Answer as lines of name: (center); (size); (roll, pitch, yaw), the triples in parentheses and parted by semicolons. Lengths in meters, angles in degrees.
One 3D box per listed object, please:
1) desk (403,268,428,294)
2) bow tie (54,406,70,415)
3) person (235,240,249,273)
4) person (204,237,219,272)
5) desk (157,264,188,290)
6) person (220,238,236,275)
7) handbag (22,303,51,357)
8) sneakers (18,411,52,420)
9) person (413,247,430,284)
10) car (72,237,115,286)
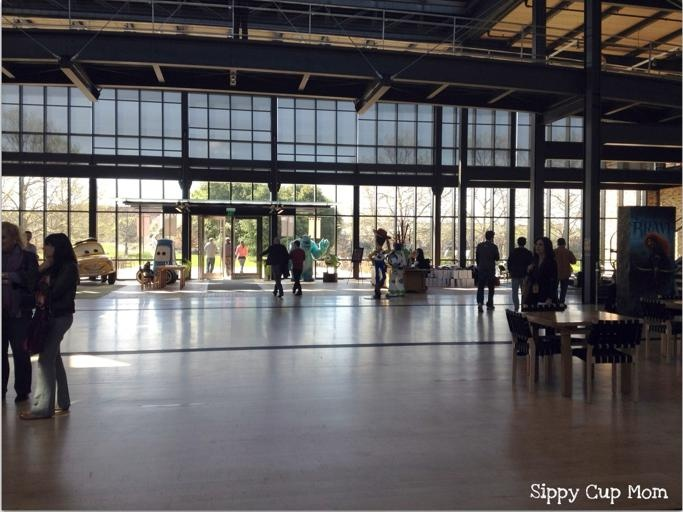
desk: (2.433, 0.842, 26.247); (0.707, 0.775, 0.745); (0, -4, 0)
bow tie: (-4.366, 2.417, 12.301); (0.223, 0.105, 0.087); (-2, 2, 11)
person: (-4.140, 0.031, 32.690); (0.482, 1.347, 0.262); (-6, 15, -22)
person: (-5.388, -0.023, 32.377); (0.515, 1.507, 0.179); (-3, 14, -14)
desk: (-6.084, 0.674, 28.074); (0.897, 1.004, 0.963); (0, -1, -8)
person: (-4.703, 0.010, 32.511); (0.506, 1.725, 0.229); (-2, 14, -10)
handbag: (-4.693, 1.145, 12.140); (0.246, 0.784, 0.550); (9, 23, -2)
sneakers: (-4.721, 2.455, 12.107); (0.432, 0.136, 0.182); (7, -7, -18)
person: (2.713, 0.363, 27.280); (0.378, 0.439, 1.153); (-7, 26, 7)
car: (-8.571, 0.249, 27.246); (1.348, 1.443, 2.654); (-1, 6, -13)
